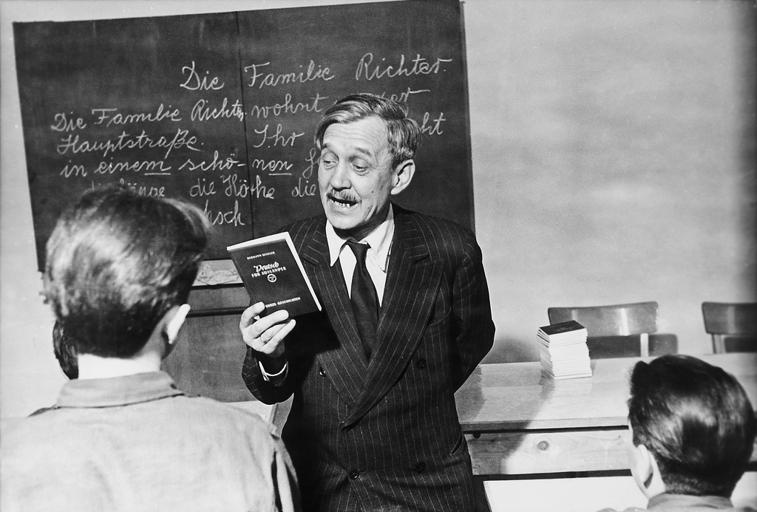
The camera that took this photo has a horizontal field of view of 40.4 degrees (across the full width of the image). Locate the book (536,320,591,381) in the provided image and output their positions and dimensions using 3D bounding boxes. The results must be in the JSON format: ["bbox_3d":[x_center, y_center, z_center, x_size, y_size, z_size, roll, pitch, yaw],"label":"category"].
[{"bbox_3d":[0.954,0.475,5.492,0.330,0.307,0.269,-4,9,0],"label":"book"}]

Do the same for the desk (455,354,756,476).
[{"bbox_3d":[0.858,0.817,5.532,1.722,0.583,0.821,-1,-4,-4],"label":"desk"}]

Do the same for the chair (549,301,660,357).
[{"bbox_3d":[1.283,0.386,5.698,0.391,0.371,0.278,-2,-6,5],"label":"chair"}]
